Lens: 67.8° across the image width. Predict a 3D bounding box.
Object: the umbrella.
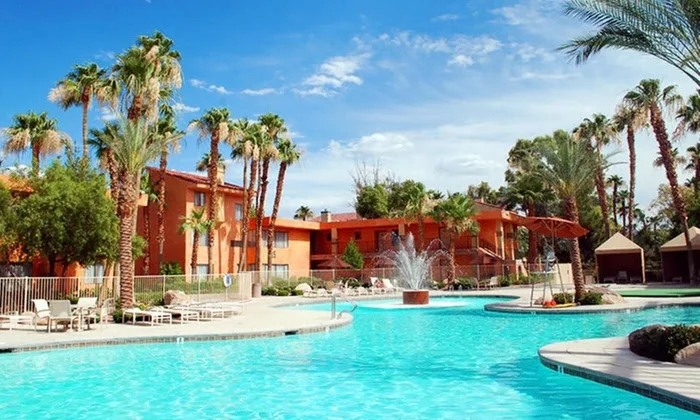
[{"bbox_3d":[11.960,0.955,30.634,3.058,1.469,3.084,-9,-12,32],"label":"umbrella"}]
